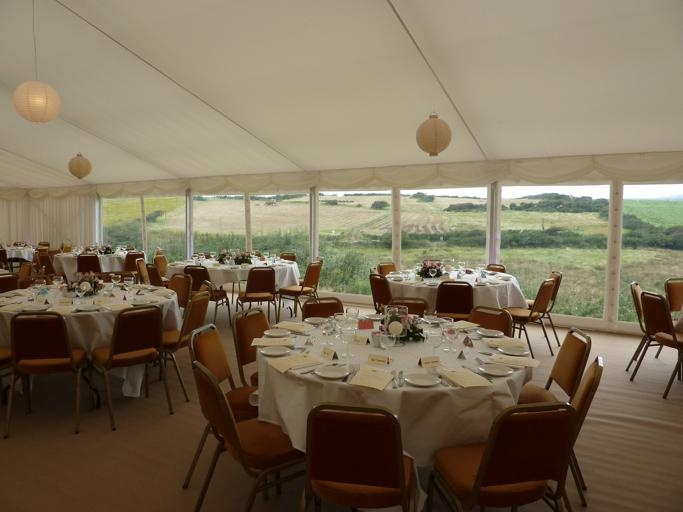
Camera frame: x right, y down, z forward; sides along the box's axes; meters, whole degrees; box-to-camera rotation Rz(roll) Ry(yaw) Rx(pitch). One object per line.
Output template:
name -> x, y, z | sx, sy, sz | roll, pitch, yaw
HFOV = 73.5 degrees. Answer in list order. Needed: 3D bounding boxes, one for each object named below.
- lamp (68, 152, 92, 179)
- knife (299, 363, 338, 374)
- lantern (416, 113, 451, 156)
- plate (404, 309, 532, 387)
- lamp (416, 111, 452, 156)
lamp -> -4.606, -1.580, 8.046 | 0.306, 0.412, 0.435 | -6, 14, -26
knife -> -0.194, 0.828, 3.441 | 0.080, 0.015, 0.303 | 10, 8, 44
lantern -> 1.172, -1.533, 5.802 | 0.468, 0.532, 0.453 | -2, 2, -21
plate -> 1.094, 0.663, 4.072 | 0.979, 0.334, 1.389 | 3, 12, 8
lamp -> 1.139, -1.502, 5.910 | 0.522, 0.627, 0.527 | 2, 1, 0
